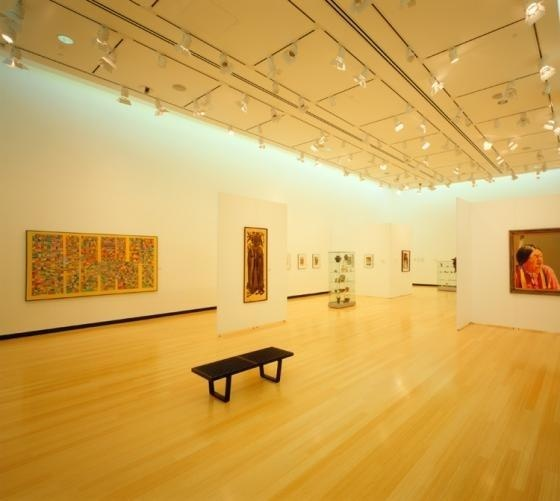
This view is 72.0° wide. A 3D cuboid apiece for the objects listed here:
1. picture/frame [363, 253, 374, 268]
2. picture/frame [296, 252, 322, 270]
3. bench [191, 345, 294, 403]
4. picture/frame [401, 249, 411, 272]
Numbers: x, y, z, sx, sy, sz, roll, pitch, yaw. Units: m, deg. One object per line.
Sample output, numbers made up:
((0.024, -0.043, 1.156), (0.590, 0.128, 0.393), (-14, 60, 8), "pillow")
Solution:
((3.607, 0.411, 15.679), (0.071, 0.767, 0.513), (3, -4, -37), "picture/frame")
((1.132, 0.402, 14.826), (0.025, 0.708, 1.409), (6, 9, 43), "picture/frame")
((-0.556, 1.855, 5.715), (1.479, 0.506, 0.617), (-6, 9, -39), "bench")
((5.190, 0.438, 15.969), (0.090, 1.046, 0.871), (-1, -1, 32), "picture/frame")
